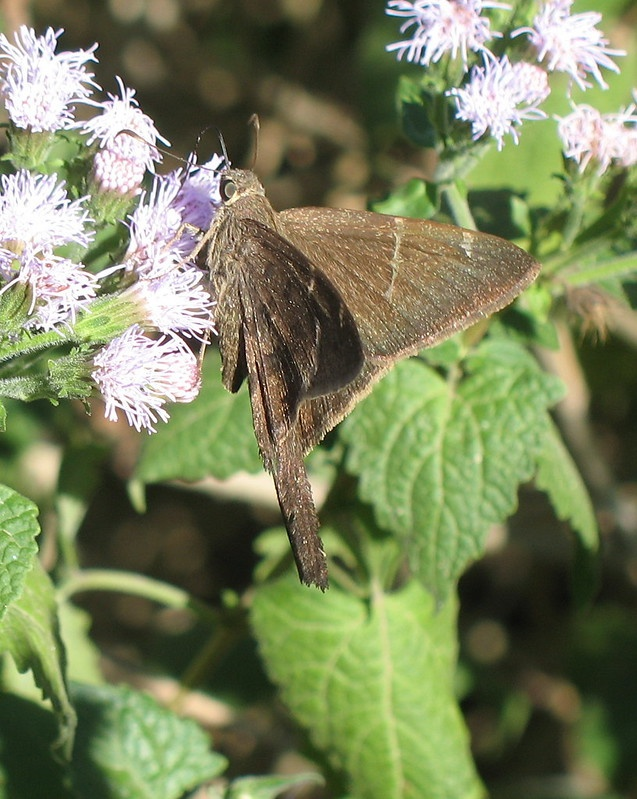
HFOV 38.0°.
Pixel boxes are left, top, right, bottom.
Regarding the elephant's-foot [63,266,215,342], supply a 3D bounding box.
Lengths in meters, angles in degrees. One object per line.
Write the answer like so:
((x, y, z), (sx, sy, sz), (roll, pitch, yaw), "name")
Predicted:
((-0.462, -0.278, 2.408), (0.389, 0.180, 0.140), (9, 73, -4), "elephant's-foot")

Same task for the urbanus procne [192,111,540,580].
((0.091, -0.064, 2.749), (0.951, 1.321, 0.615), (-14, 42, -18), "urbanus procne")

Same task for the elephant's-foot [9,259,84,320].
((-0.637, -0.261, 2.234), (0.161, 0.147, 0.117), (-32, 58, -29), "elephant's-foot")

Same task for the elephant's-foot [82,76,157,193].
((-0.528, -0.689, 2.421), (0.310, 0.284, 0.227), (-6, 20, -12), "elephant's-foot")
